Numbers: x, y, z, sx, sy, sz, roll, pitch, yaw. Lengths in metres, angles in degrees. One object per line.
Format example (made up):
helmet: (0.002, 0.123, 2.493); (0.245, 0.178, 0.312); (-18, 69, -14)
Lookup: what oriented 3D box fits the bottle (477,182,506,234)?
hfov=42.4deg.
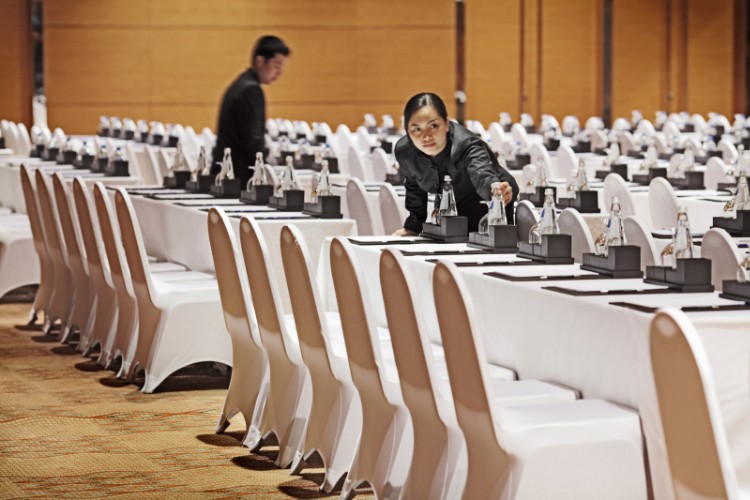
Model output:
bottle: (0.609, -0.218, 5.048); (0.134, 0.269, 0.250); (1, 9, 6)

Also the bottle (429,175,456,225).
bottle: (0.377, -0.282, 5.350); (0.141, 0.275, 0.411); (1, 9, 3)

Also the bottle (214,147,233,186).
bottle: (-1.128, -0.621, 7.252); (0.138, 0.278, 0.302); (-1, 9, -9)

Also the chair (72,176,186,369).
chair: (-1.558, 0.085, 6.585); (0.878, 1.548, 0.965); (-4, 10, -26)
